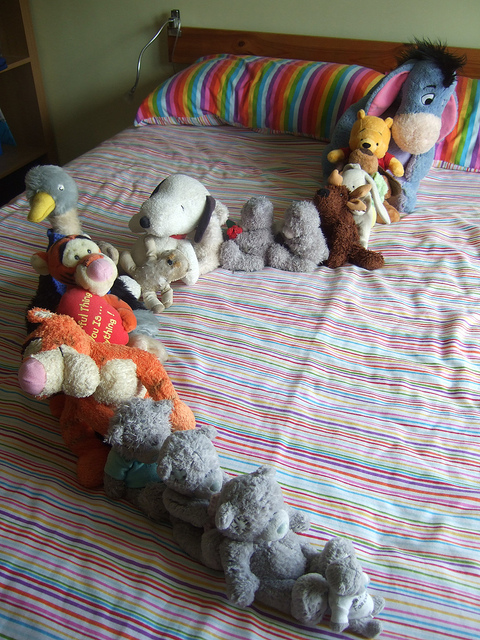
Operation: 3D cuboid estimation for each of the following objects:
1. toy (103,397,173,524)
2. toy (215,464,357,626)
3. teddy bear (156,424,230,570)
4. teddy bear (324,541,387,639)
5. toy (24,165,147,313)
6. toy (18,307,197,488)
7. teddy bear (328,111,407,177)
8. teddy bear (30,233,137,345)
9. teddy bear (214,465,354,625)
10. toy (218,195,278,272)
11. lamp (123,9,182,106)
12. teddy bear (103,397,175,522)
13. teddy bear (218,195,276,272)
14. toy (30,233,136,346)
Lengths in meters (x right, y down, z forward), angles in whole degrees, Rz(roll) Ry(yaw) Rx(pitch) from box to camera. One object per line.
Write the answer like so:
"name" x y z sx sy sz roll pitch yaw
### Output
"toy" -0.133 0.206 0.918 0.153 0.159 0.118 6 17 1
"toy" 0.049 0.298 0.794 0.216 0.129 0.160 17 28 29
"teddy bear" -0.037 0.253 0.857 0.166 0.182 0.138 -2 27 1
"teddy bear" 0.144 0.350 0.768 0.073 0.090 0.075 15 46 20
"toy" -0.359 -0.175 1.288 0.223 0.295 0.248 0 26 29
"toy" -0.213 0.118 0.969 0.260 0.175 0.291 -9 86 -22
"teddy bear" 0.370 -0.501 1.723 0.244 0.189 0.123 19 31 13
"teddy bear" -0.260 -0.075 1.084 0.171 0.102 0.196 -23 79 -15
"teddy bear" 0.052 0.291 0.788 0.188 0.167 0.152 15 45 8
"toy" 0.003 -0.223 1.549 0.166 0.176 0.163 -19 34 -38
"lamp" -0.386 -1.117 2.630 0.247 0.452 0.162 -1 48 -10
"teddy bear" -0.133 0.208 0.913 0.152 0.153 0.112 2 14 0
"teddy bear" 0.017 -0.209 1.518 0.159 0.193 0.157 12 35 12
"toy" -0.265 -0.072 1.092 0.184 0.104 0.194 -16 75 -17
